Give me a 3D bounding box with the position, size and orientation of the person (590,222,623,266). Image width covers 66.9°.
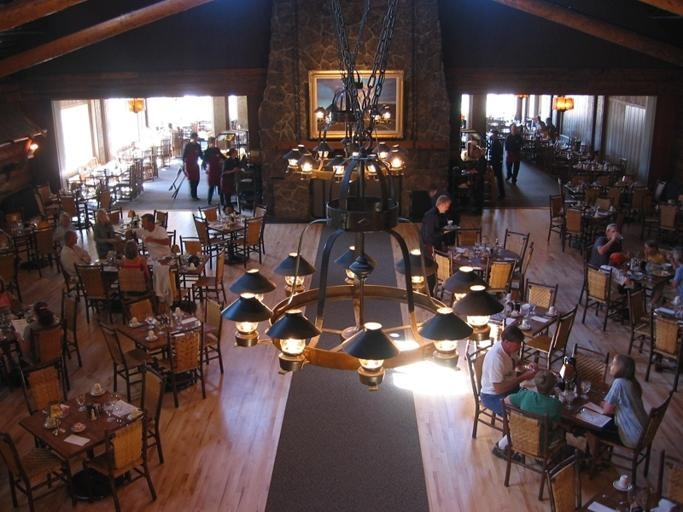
[{"bbox_3d":[5.007,-0.037,9.795,0.464,1.090,0.515,10,17,24],"label":"person"}]

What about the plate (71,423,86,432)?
[{"bbox_3d":[-2.952,1.918,5.801,0.139,0.057,0.139,-5,12,-23],"label":"plate"}]

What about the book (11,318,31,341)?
[{"bbox_3d":[-4.752,1.048,7.643,0.244,0.103,0.390,-20,56,-28],"label":"book"}]

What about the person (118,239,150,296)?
[{"bbox_3d":[-3.693,0.214,9.168,0.573,1.050,0.448,10,16,43],"label":"person"}]

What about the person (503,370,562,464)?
[{"bbox_3d":[2.210,1.881,5.931,0.592,1.301,0.727,12,42,22],"label":"person"}]

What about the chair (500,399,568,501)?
[{"bbox_3d":[2.187,2.170,5.808,0.641,1.071,0.654,15,36,33],"label":"chair"}]

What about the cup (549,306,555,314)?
[{"bbox_3d":[3.336,0.859,8.097,0.106,0.129,0.111,-5,17,1],"label":"cup"}]

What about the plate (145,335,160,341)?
[{"bbox_3d":[-2.715,1.177,7.407,0.180,0.063,0.114,-5,12,-23],"label":"plate"}]

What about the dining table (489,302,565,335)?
[{"bbox_3d":[2.662,0.908,7.430,0.484,0.208,0.739,19,38,34],"label":"dining table"}]

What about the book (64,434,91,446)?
[{"bbox_3d":[-2.882,2.002,5.628,0.295,0.026,0.138,4,12,21],"label":"book"}]

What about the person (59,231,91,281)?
[{"bbox_3d":[-5.362,0.023,10.357,0.520,0.946,0.696,-11,38,-18],"label":"person"}]

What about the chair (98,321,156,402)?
[{"bbox_3d":[-3.091,1.559,7.485,0.653,1.022,0.563,-21,39,-38],"label":"chair"}]

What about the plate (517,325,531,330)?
[{"bbox_3d":[2.689,1.045,7.587,0.139,0.045,0.145,-1,15,-1],"label":"plate"}]

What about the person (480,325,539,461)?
[{"bbox_3d":[2.114,1.737,6.579,0.647,1.712,0.687,-12,10,-43],"label":"person"}]

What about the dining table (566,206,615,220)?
[{"bbox_3d":[6.094,-1.029,12.691,1.316,0.286,0.841,0,12,2],"label":"dining table"}]

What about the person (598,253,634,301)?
[{"bbox_3d":[4.961,0.333,9.266,0.577,0.798,0.846,5,12,25],"label":"person"}]

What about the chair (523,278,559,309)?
[{"bbox_3d":[3.455,0.662,8.943,0.377,0.742,0.423,8,16,27],"label":"chair"}]

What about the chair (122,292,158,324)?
[{"bbox_3d":[-3.272,0.841,8.438,0.353,0.656,0.407,-6,32,-19],"label":"chair"}]

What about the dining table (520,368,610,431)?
[{"bbox_3d":[2.485,1.720,5.858,0.835,0.293,0.825,-13,26,-41],"label":"dining table"}]

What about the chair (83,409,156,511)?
[{"bbox_3d":[-2.526,2.284,5.904,0.589,0.989,0.757,-11,15,-42],"label":"chair"}]

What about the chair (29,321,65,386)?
[{"bbox_3d":[-4.213,1.342,7.444,0.508,0.957,0.585,-10,43,-26],"label":"chair"}]

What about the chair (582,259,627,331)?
[{"bbox_3d":[4.805,0.718,9.358,0.683,1.237,0.628,-30,37,-31],"label":"chair"}]

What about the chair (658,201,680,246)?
[{"bbox_3d":[8.122,-0.765,12.706,0.524,1.050,0.830,8,14,35],"label":"chair"}]

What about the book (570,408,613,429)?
[{"bbox_3d":[2.881,1.865,5.939,0.234,0.065,0.232,18,33,40],"label":"book"}]

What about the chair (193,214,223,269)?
[{"bbox_3d":[-2.949,-0.303,11.496,0.649,1.166,0.653,-18,42,-25],"label":"chair"}]

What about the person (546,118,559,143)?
[{"bbox_3d":[9.420,-5.626,23.076,0.541,1.053,2.314,4,12,22],"label":"person"}]

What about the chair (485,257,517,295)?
[{"bbox_3d":[2.846,0.380,9.263,0.472,0.867,0.542,2,37,5],"label":"chair"}]

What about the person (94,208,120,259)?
[{"bbox_3d":[-4.919,-0.452,10.781,0.451,0.995,1.319,-6,13,-26],"label":"person"}]

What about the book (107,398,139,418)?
[{"bbox_3d":[-2.569,1.799,6.062,0.264,0.057,0.185,17,26,25],"label":"book"}]

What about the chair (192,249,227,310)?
[{"bbox_3d":[-2.622,0.499,10.226,0.597,1.166,0.624,5,33,-2],"label":"chair"}]

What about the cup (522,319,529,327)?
[{"bbox_3d":[2.763,1.009,7.737,0.088,0.103,0.104,0,16,9],"label":"cup"}]

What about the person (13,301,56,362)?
[{"bbox_3d":[-4.471,1.097,7.525,0.768,0.864,0.400,6,13,30],"label":"person"}]

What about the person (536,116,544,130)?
[{"bbox_3d":[9.232,-6.139,23.893,0.389,0.575,1.456,4,12,20],"label":"person"}]

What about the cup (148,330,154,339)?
[{"bbox_3d":[-2.744,1.135,7.435,0.078,0.081,0.079,2,10,0],"label":"cup"}]

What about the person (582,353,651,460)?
[{"bbox_3d":[3.206,1.760,5.948,0.579,1.272,0.380,7,13,33],"label":"person"}]
